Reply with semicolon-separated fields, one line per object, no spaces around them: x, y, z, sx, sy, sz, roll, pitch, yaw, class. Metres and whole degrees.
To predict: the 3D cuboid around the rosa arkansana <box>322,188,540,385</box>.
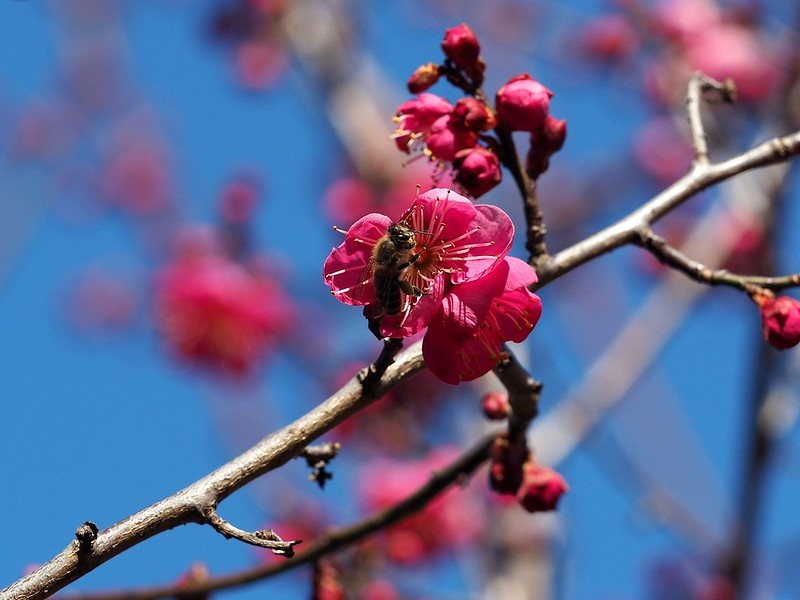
0.116;-0.045;5.197;0.736;0.907;0.506;-27;-47;-17;rosa arkansana

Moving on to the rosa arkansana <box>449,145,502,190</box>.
0.381;-0.635;5.424;0.141;0.208;0.216;-2;-17;-45;rosa arkansana
